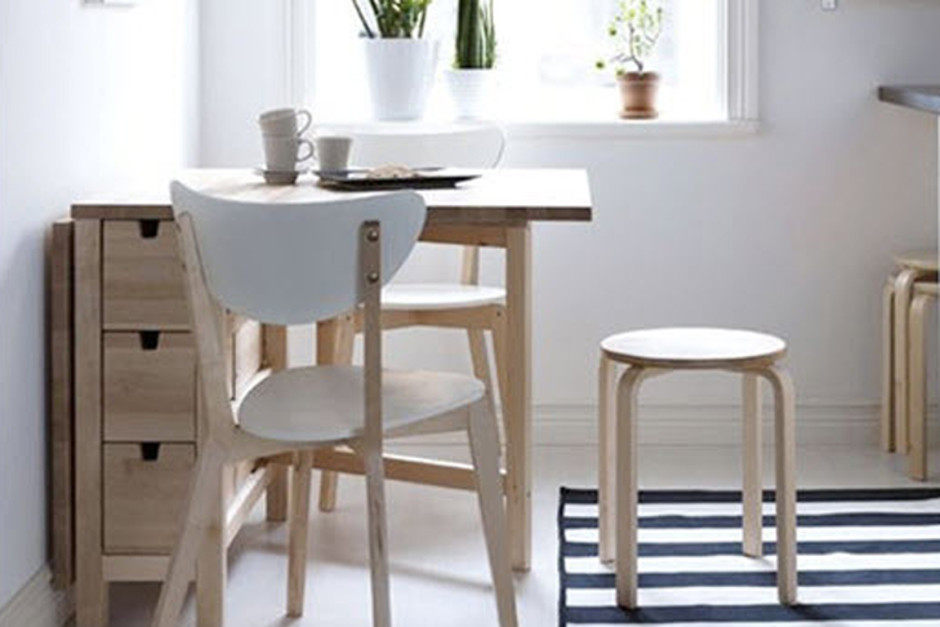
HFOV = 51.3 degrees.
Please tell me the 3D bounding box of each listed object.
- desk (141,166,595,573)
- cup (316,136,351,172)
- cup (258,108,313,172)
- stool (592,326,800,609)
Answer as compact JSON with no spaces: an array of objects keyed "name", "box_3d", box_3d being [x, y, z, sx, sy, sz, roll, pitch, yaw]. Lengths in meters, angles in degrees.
[{"name":"desk","box_3d":[-0.247,0.173,2.801,1.066,1.011,1.081,-1,3,-5]},{"name":"cup","box_3d":[-0.366,-0.427,2.674,0.096,0.081,0.093,0,-2,0]},{"name":"cup","box_3d":[-0.492,-0.466,2.627,0.133,0.163,0.177,-5,12,-11]},{"name":"stool","box_3d":[0.584,0.395,2.584,0.497,0.678,0.322,-3,12,-3]}]
